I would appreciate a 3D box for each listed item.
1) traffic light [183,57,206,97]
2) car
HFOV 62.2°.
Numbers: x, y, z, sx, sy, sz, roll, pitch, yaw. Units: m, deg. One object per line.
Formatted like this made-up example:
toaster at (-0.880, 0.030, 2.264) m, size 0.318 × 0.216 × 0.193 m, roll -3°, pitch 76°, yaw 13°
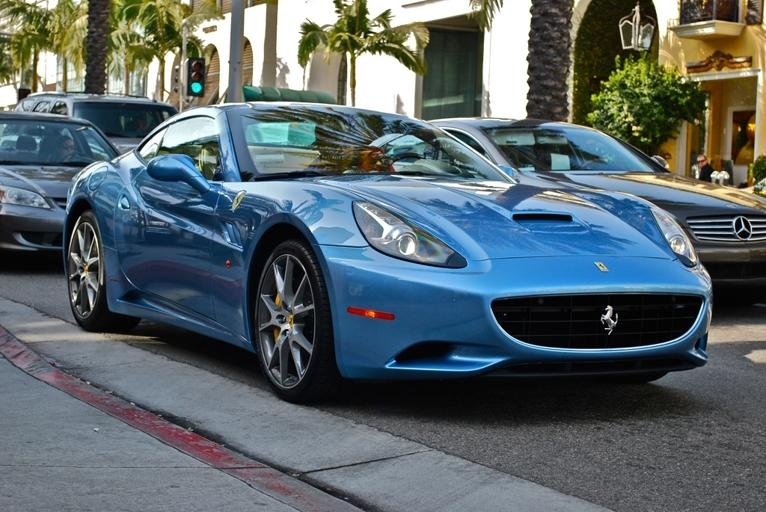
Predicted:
traffic light at (-5.246, -5.080, 18.221) m, size 0.656 × 1.017 × 0.717 m, roll 1°, pitch 0°, yaw 40°
car at (-0.658, -0.219, 4.775) m, size 5.587 × 1.954 × 2.124 m, roll 3°, pitch 8°, yaw 24°
